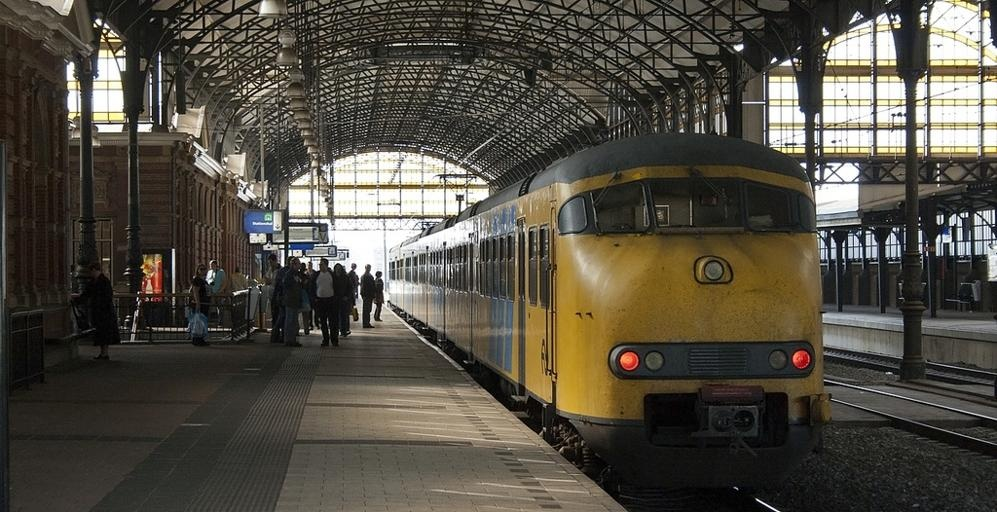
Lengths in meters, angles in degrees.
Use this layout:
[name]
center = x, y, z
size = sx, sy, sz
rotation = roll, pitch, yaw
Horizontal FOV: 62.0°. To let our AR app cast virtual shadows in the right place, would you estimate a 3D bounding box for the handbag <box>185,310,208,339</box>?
[handbag]
center = -10.151, 2.244, 27.963
size = 0.566, 0.802, 0.579
rotation = -1, 0, -25
